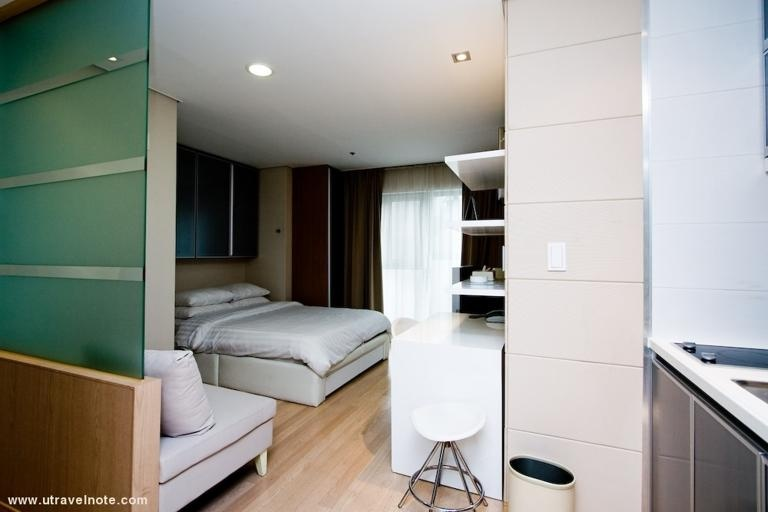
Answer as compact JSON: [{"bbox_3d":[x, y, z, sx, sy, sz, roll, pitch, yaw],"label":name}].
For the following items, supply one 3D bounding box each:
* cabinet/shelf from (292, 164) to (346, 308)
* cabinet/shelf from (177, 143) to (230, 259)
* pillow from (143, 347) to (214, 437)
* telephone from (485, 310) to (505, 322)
[{"bbox_3d":[-0.864,-0.248,7.078,0.459,1.850,0.410,-1,-1,17],"label":"cabinet/shelf"},{"bbox_3d":[-1.973,-0.572,6.169,1.246,1.210,0.412,9,8,41],"label":"cabinet/shelf"},{"bbox_3d":[-1.290,0.863,3.286,0.602,0.544,0.322,-7,4,45],"label":"pillow"},{"bbox_3d":[0.899,0.468,4.262,0.123,0.081,0.130,-2,-4,13],"label":"telephone"}]
